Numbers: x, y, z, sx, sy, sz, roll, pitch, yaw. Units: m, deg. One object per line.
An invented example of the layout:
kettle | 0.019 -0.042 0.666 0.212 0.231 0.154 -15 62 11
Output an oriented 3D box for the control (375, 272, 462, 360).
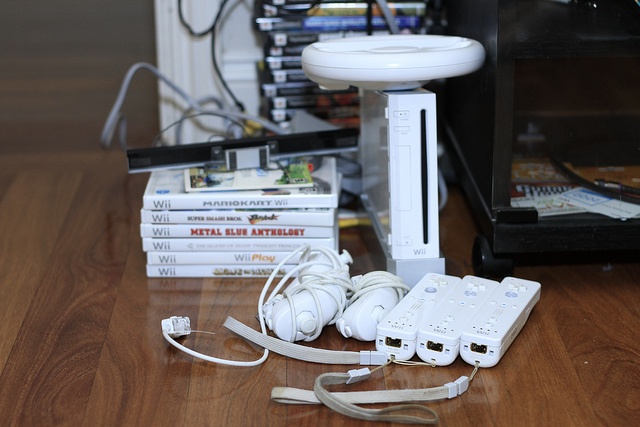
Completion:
control | 0.194 0.188 1.281 0.083 0.085 0.229 14 43 30

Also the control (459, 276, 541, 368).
control | 0.338 0.202 1.262 0.078 0.091 0.279 10 30 22

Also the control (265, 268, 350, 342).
control | -0.023 0.184 1.350 0.114 0.087 0.216 8 26 27

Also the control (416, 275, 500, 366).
control | 0.297 0.207 1.288 0.076 0.071 0.231 9 21 5

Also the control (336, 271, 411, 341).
control | 0.084 0.192 1.332 0.089 0.076 0.158 -32 18 23
